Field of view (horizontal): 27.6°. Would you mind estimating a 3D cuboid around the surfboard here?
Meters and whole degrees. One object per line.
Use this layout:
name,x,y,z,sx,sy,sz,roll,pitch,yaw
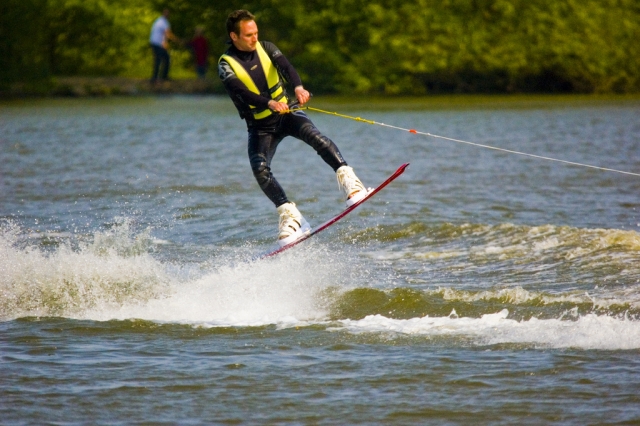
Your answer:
surfboard,0.289,-0.002,18.731,2.526,0.357,0.200,-29,78,13
